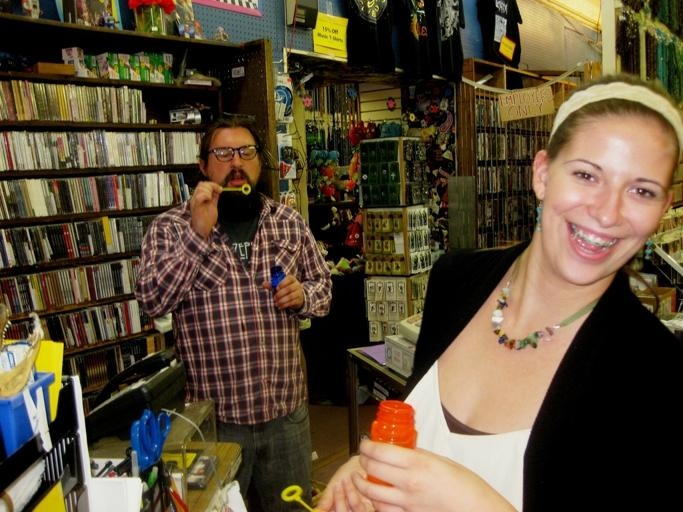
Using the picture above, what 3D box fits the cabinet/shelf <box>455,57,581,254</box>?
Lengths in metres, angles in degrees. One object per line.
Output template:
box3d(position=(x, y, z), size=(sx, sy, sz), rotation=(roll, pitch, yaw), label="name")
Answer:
box3d(position=(2.490, -1.746, 7.061), size=(1.559, 1.627, 0.556), rotation=(3, 10, -7), label="cabinet/shelf")

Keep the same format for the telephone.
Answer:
box3d(position=(-0.824, 0.556, 1.917), size=(0.350, 0.232, 0.480), rotation=(-8, -1, -10), label="telephone")

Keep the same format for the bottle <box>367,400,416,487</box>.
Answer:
box3d(position=(0.115, 0.380, 1.110), size=(0.100, 0.108, 0.122), rotation=(2, 12, 5), label="bottle")

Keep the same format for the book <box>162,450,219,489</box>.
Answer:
box3d(position=(-0.513, 0.726, 1.685), size=(0.179, 0.045, 0.182), rotation=(3, 13, -7), label="book")
